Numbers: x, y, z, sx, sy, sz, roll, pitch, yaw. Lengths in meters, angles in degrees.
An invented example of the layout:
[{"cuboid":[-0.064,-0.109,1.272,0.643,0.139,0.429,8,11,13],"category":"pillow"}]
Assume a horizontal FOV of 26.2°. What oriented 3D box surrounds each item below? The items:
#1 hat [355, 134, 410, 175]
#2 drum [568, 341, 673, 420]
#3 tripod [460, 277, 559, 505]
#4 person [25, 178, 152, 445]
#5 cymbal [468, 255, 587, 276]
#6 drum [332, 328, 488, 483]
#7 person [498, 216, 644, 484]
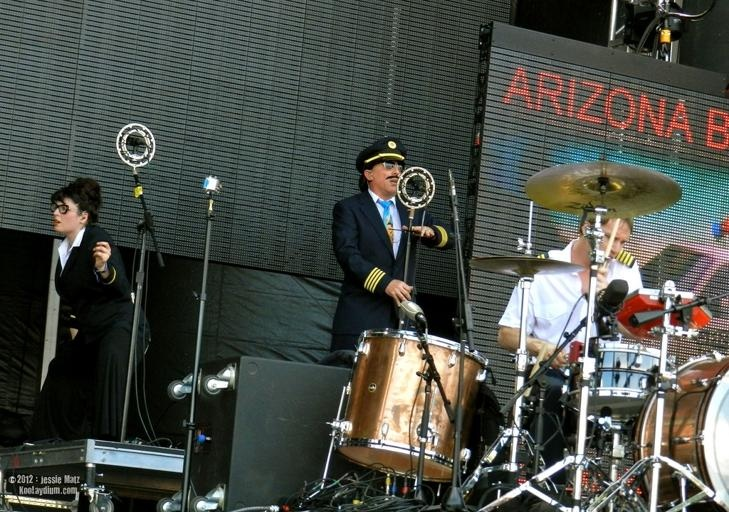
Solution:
[{"cuboid":[0.129,-0.756,11.493,0.333,0.265,0.221,-1,4,-17],"category":"hat"},{"cuboid":[1.644,0.756,10.209,0.556,0.538,0.623,1,2,-3],"category":"drum"},{"cuboid":[0.912,0.863,10.128,0.553,1.428,0.587,1,4,1],"category":"tripod"},{"cuboid":[-1.941,0.368,11.176,0.758,1.839,0.661,1,7,-15],"category":"person"},{"cuboid":[1.044,0.057,10.135,0.700,0.137,0.396,1,-12,7],"category":"cymbal"},{"cuboid":[0.301,0.944,10.301,0.997,0.858,0.986,4,-29,33],"category":"drum"},{"cuboid":[1.469,0.600,10.733,0.991,1.748,0.929,2,3,0],"category":"person"}]
